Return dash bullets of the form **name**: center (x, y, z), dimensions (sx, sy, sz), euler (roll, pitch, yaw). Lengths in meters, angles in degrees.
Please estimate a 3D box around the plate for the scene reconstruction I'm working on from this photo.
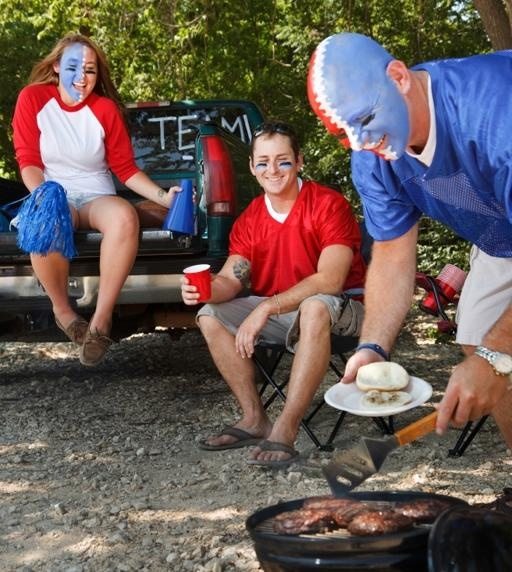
- **plate**: center (0.249, 0.253, 1.523), dimensions (0.267, 0.126, 0.307), euler (2, 8, -2)

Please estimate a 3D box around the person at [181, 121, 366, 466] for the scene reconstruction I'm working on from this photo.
- **person**: center (0.091, -0.020, 2.974), dimensions (1.201, 1.573, 1.133), euler (-5, 5, 5)

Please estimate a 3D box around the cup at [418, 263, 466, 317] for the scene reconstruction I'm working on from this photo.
- **cup**: center (1.090, 0.017, 3.323), dimensions (0.364, 0.307, 0.278), euler (3, 10, 1)

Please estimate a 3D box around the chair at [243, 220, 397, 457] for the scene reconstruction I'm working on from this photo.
- **chair**: center (0.202, 0.268, 3.017), dimensions (0.913, 1.067, 0.851), euler (5, 22, 11)

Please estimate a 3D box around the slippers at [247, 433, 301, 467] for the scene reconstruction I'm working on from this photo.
- **slippers**: center (0.075, 0.726, 2.518), dimensions (0.164, 0.079, 0.154), euler (1, 6, 24)
